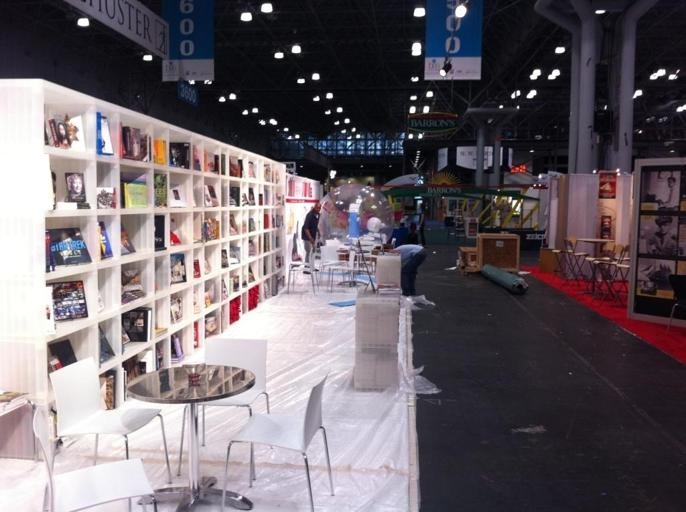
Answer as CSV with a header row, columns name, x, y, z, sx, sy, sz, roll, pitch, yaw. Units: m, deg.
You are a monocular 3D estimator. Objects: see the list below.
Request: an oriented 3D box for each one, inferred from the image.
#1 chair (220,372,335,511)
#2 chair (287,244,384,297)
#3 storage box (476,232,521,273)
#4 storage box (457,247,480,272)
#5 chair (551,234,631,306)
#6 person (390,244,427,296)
name,x,y,z,sx,sy,sz,roll,pitch,yaw
chair,-0.487,1.326,3.942,0.816,0.961,0.947,-1,7,-9
chair,-0.116,0.229,11.052,1.164,0.872,1.234,0,0,2
storage box,3.924,-0.108,13.121,0.882,0.982,0.941,1,5,11
storage box,3.234,0.134,13.544,0.433,0.419,0.641,0,0,4
chair,5.626,0.260,11.447,0.812,1.255,2.371,1,1,5
person,1.251,0.332,9.872,0.515,1.022,0.946,1,7,7
